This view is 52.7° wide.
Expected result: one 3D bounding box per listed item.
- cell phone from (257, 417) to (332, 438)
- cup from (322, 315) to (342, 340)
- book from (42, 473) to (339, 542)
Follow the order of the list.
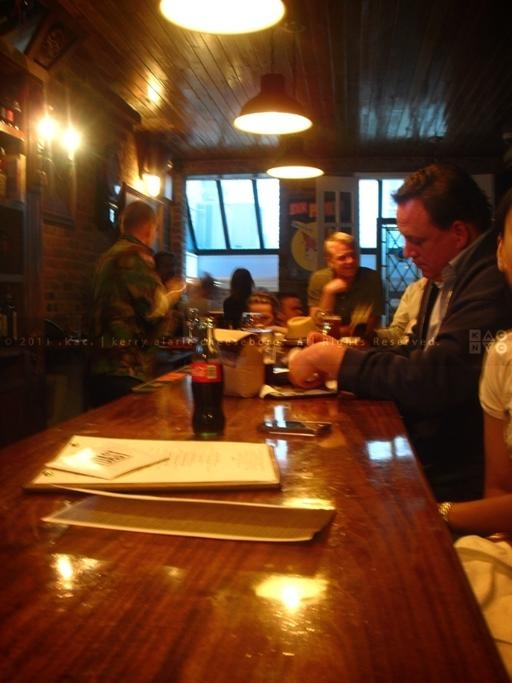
[{"bbox_3d":[0.074,0.160,0.984,0.130,0.017,0.132,0,2,7],"label":"cell phone"},{"bbox_3d":[0.256,-0.051,1.817,0.076,0.077,0.142,5,4,4],"label":"cup"},{"bbox_3d":[-0.084,0.178,0.535,0.321,0.019,0.089,0,2,10],"label":"book"}]
